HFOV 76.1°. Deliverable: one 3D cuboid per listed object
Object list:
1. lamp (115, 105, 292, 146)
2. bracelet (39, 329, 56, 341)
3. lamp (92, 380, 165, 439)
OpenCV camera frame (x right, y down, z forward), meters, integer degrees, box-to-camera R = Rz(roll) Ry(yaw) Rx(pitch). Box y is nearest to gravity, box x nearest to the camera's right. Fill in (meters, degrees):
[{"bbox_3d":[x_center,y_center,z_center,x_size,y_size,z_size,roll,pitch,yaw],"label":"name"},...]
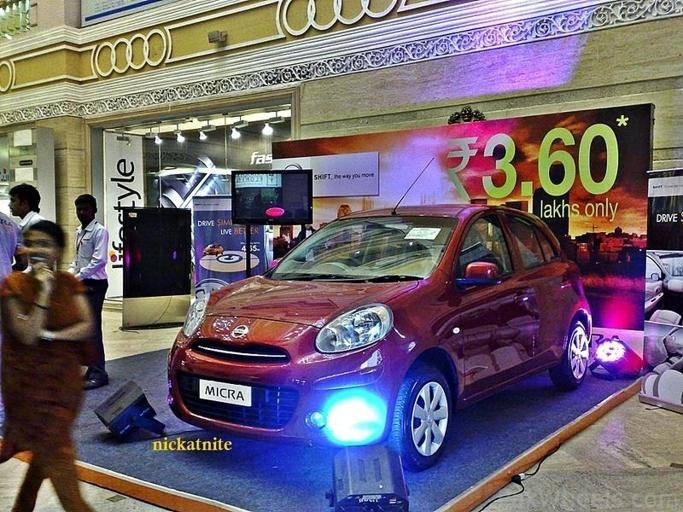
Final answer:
[{"bbox_3d":[-2.970,-2.723,9.401,4.503,0.601,0.172,3,5,29],"label":"lamp"},{"bbox_3d":[-1.260,0.338,1.880,0.051,0.013,0.051,3,7,-2],"label":"bracelet"},{"bbox_3d":[-1.698,1.218,3.612,0.490,0.479,0.444,5,1,17],"label":"lamp"}]
